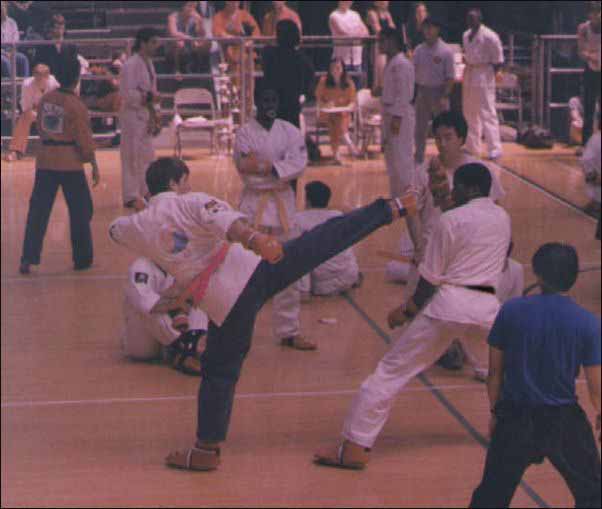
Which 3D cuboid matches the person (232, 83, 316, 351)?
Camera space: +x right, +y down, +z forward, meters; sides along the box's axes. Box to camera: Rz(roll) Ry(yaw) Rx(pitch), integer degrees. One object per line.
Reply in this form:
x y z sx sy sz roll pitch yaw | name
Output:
-0.140 -0.196 4.055 0.389 1.408 0.378 -1 5 26 | person

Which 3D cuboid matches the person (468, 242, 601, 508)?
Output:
0.828 0.405 2.548 0.415 0.883 0.344 4 9 19 | person

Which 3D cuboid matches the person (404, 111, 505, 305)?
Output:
0.761 -0.216 3.758 0.376 0.963 0.294 14 29 33 | person

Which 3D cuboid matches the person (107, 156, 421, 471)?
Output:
-0.144 0.052 2.939 1.320 0.972 0.608 -9 -11 28 | person

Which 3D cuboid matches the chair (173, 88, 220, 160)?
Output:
-0.883 -1.101 6.260 0.338 0.578 0.383 -4 15 -20 | chair

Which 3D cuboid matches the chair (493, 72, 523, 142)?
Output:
1.644 -1.277 5.900 0.177 0.341 0.257 1 15 25 | chair

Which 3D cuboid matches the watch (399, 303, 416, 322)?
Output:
0.474 0.253 3.308 0.072 0.075 0.064 -1 18 6 | watch

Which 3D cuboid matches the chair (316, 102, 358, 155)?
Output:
0.378 -1.296 7.057 0.270 0.331 0.705 1 35 5 | chair
